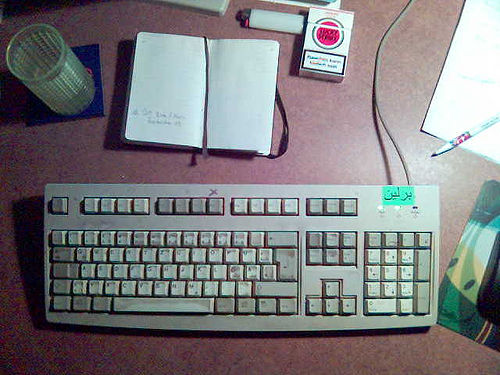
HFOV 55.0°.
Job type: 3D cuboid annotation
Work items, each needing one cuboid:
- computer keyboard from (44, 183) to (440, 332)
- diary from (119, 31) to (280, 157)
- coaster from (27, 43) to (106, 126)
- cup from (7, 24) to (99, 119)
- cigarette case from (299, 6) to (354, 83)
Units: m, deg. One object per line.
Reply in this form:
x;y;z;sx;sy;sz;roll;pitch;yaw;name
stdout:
-0.021;0.162;1.111;0.909;0.094;0.334;1;82;-3;computer keyboard
-0.128;-0.225;1.166;0.374;0.086;0.274;5;82;-2;diary
-0.461;-0.252;1.185;0.196;0.033;0.181;-7;83;-4;coaster
-0.471;-0.272;1.144;0.127;0.152;0.143;-38;76;5;cup
0.185;-0.354;1.162;0.107;0.038;0.150;10;82;-1;cigarette case
